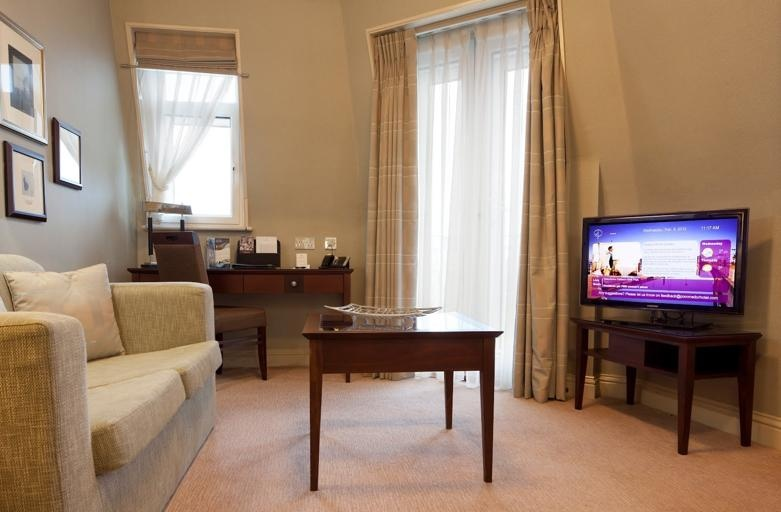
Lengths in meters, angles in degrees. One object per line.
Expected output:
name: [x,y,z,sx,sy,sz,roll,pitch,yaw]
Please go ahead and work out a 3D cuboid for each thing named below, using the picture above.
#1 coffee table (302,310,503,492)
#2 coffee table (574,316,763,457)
coffee table: [0.056,0.754,3.650,0.957,0.860,1.136,-1,-2,-4]
coffee table: [1.907,0.872,4.145,0.656,0.772,1.085,-1,2,-21]
